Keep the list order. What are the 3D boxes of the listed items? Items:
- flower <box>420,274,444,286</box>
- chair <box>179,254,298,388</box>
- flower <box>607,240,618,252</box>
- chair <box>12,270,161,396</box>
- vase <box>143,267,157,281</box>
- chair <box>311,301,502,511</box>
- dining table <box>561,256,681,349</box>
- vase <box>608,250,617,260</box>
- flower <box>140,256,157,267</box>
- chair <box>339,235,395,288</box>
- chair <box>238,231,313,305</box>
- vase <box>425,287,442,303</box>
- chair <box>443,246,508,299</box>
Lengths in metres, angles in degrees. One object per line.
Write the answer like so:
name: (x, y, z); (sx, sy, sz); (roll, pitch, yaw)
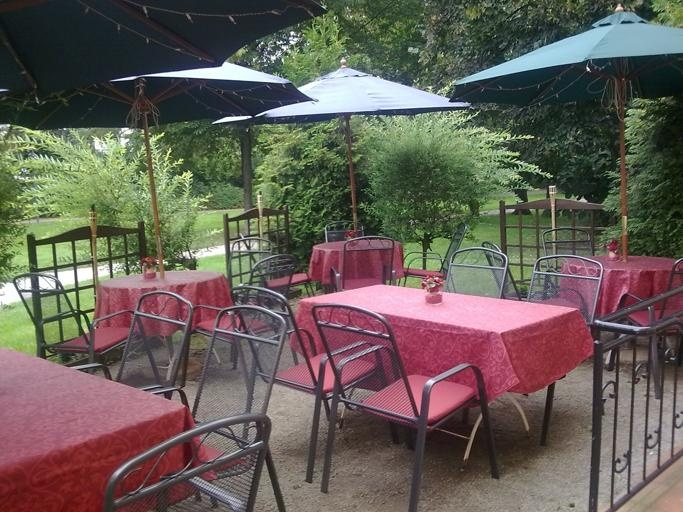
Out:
flower: (0.791, 0.200, 4.782); (0.164, 0.101, 0.156); (-4, 7, -21)
chair: (-1.264, 0.324, 6.102); (0.792, 1.381, 0.918); (-11, 27, -36)
flower: (2.580, -0.097, 5.218); (0.088, 0.122, 0.143); (0, 7, 23)
chair: (-2.109, 0.625, 4.578); (0.862, 1.133, 0.797); (2, 14, 20)
vase: (-1.815, 0.174, 5.247); (0.126, 0.112, 0.120); (1, 3, 12)
chair: (0.292, 0.842, 3.468); (1.178, 1.177, 0.765); (1, 8, 35)
dining table: (2.481, 0.465, 5.055); (1.034, 0.492, 1.000); (0, 12, 19)
vase: (2.577, -0.008, 5.208); (0.073, 0.064, 0.071); (-6, -4, 27)
flower: (-1.854, 0.050, 5.261); (0.136, 0.079, 0.154); (-3, 6, -3)
chair: (0.309, 0.086, 6.538); (0.671, 0.825, 0.627); (0, 19, 0)
chair: (-0.833, 0.129, 6.831); (0.798, 1.212, 0.836); (4, 37, 2)
vase: (0.653, 0.279, 3.943); (0.112, 0.096, 0.103); (1, 4, 25)
chair: (1.245, 0.141, 4.892); (0.451, 0.741, 0.542); (1, -2, 28)
